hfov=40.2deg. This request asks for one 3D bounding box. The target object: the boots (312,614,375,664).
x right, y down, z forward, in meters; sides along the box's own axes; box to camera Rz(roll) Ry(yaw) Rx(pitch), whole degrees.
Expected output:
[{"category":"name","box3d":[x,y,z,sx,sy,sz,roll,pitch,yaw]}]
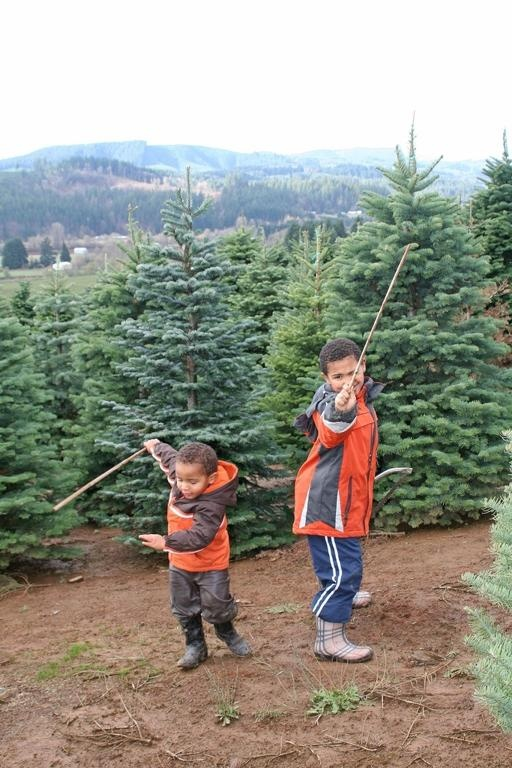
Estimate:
[{"category":"boots","box3d":[0.462,1.447,3.946,0.406,0.263,0.159,-1,4,3]}]
